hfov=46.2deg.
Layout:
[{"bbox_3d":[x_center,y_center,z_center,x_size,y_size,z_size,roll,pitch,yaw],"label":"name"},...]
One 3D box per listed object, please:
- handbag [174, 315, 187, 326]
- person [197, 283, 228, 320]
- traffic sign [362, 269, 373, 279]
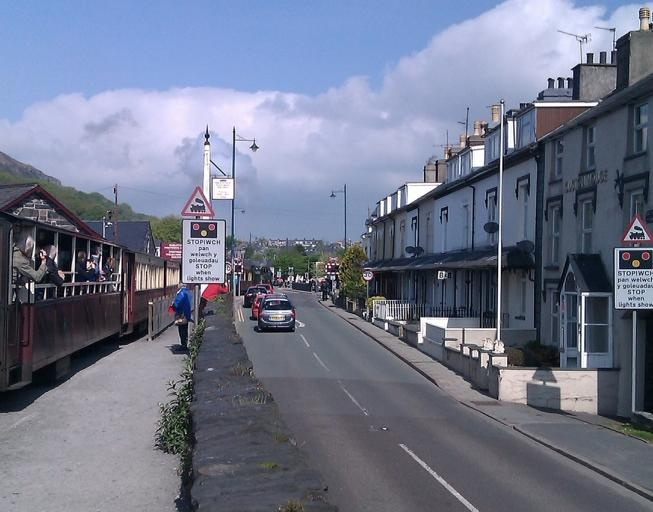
[{"bbox_3d":[-4.560,2.010,23.865,0.240,0.271,0.103,-6,-50,-1],"label":"handbag"},{"bbox_3d":[-4.856,1.980,32.704,0.512,0.807,1.692,21,-50,-24],"label":"person"},{"bbox_3d":[2.665,1.236,49.572,0.490,0.583,0.555,-1,-23,-7],"label":"traffic sign"}]
